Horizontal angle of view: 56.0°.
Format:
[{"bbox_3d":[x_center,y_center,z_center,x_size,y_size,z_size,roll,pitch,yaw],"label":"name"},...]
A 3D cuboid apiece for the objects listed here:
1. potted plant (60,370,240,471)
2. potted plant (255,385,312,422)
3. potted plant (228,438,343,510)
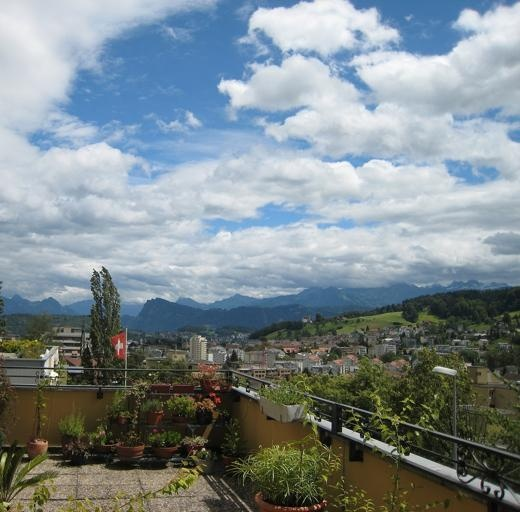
[{"bbox_3d":[-1.818,2.815,8.460,2.725,1.228,1.472,-1,-5,-10],"label":"potted plant"},{"bbox_3d":[0.307,1.741,5.841,0.333,0.328,0.817,4,-9,-16],"label":"potted plant"},{"bbox_3d":[0.395,1.871,4.482,1.010,0.516,0.982,-5,-13,42],"label":"potted plant"}]
